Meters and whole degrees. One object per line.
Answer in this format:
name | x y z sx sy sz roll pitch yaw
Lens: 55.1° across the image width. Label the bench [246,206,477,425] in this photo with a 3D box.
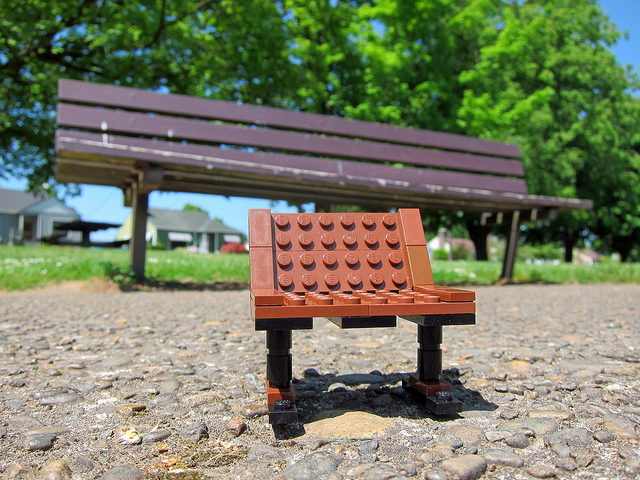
bench | 0.309 0.630 6.077 2.037 1.851 1.518 -1 4 -10
